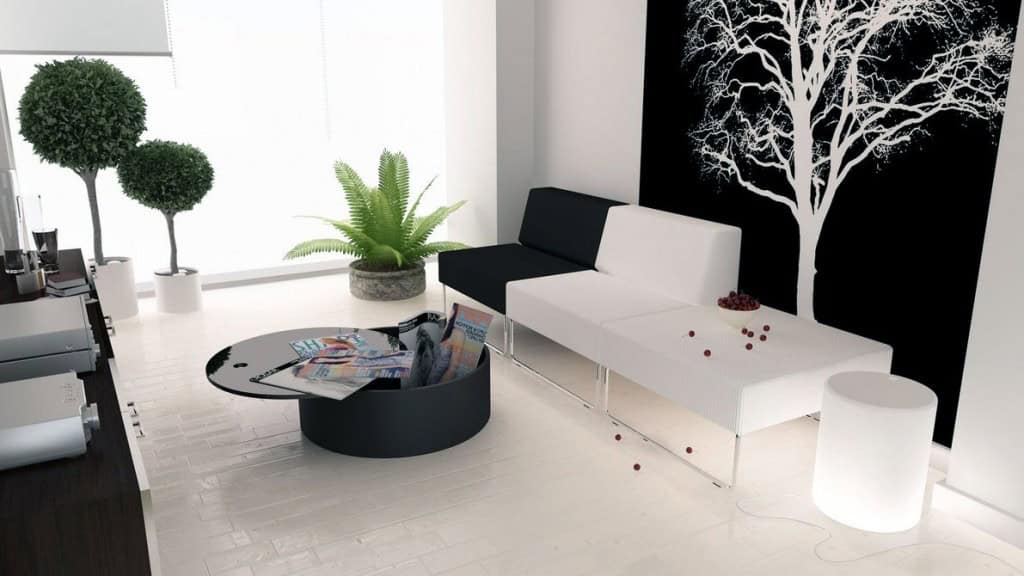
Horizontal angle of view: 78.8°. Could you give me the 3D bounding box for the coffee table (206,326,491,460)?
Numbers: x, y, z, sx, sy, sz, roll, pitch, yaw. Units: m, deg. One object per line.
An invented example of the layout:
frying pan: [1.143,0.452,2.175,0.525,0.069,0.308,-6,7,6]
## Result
coffee table: [-0.802,0.688,3.560,1.136,0.271,0.844,-6,14,-24]

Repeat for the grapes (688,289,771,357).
grapes: [1.385,0.231,3.762,0.339,0.214,0.499,13,23,34]

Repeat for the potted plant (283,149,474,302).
potted plant: [-1.297,-0.568,6.214,1.649,1.010,1.515,0,9,-8]

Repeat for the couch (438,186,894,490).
couch: [1.014,0.346,3.833,0.712,0.649,1.952,-9,18,-32]
